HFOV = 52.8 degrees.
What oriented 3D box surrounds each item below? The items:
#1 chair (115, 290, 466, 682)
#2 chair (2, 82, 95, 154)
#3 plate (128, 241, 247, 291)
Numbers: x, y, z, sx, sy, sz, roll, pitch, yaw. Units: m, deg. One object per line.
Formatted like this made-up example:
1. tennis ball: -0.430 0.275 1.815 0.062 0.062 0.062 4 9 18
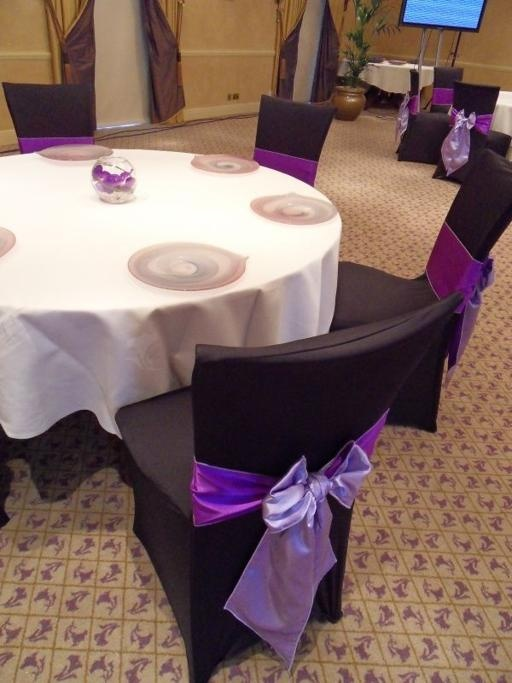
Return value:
1. chair: -0.057 0.242 0.947 0.489 0.833 0.359 32 41 34
2. chair: -0.896 -0.967 2.254 0.350 0.268 0.272 -5 34 -17
3. plate: -0.142 -0.157 1.068 0.235 0.024 0.213 5 32 -1
